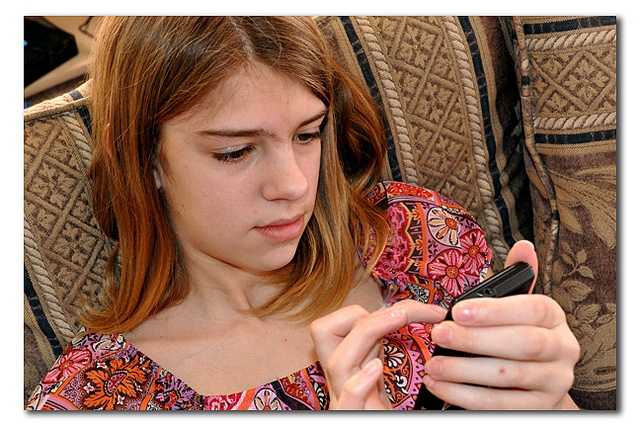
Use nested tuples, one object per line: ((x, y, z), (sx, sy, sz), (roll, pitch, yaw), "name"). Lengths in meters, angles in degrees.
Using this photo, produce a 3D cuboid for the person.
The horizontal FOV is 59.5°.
((-0.094, 0.007, 1.539), (1.329, 1.103, 0.539), (-10, 1, 13), "person")
